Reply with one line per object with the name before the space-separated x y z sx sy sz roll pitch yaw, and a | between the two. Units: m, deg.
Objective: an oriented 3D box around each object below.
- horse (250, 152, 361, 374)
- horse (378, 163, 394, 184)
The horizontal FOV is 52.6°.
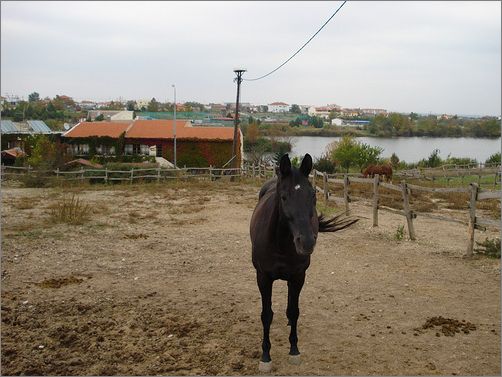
horse | 0.577 1.001 8.848 1.183 3.477 2.504 1 14 7
horse | 8.222 -0.863 30.834 0.708 1.146 3.133 3 15 14
